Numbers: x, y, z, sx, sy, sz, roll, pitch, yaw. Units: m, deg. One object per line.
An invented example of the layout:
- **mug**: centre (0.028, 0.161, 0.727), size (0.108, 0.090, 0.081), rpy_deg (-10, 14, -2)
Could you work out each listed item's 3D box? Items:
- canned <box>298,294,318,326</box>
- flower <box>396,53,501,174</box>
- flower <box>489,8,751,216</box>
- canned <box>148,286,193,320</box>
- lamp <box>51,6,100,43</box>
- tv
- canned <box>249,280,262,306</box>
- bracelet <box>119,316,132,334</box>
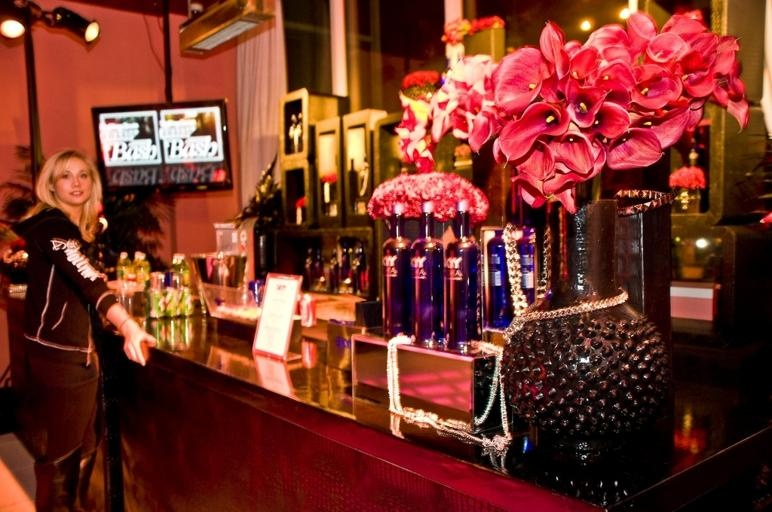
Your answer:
- **canned**: centre (-0.378, 0.267, 3.152), size (0.051, 0.174, 0.116), rpy_deg (2, 8, 12)
- **flower**: centre (0.206, -0.454, 2.090), size (0.143, 0.371, 0.437), rpy_deg (-4, 9, -32)
- **flower**: centre (0.690, -0.421, 1.902), size (0.745, 0.576, 0.159), rpy_deg (-1, 8, -11)
- **canned**: centre (-1.196, 0.262, 3.637), size (0.272, 0.202, 0.152), rpy_deg (1, -6, -26)
- **lamp**: centre (-2.609, -1.952, 5.452), size (0.276, 0.312, 0.588), rpy_deg (-5, 10, -33)
- **tv**: centre (-2.051, -1.002, 5.947), size (1.253, 0.841, 0.131), rpy_deg (-2, 16, 7)
- **canned**: centre (-0.619, 0.179, 3.106), size (0.072, 0.117, 0.079), rpy_deg (3, -36, -16)
- **bracelet**: centre (-1.247, 0.330, 3.114), size (0.043, 0.060, 0.057), rpy_deg (19, 33, 32)
